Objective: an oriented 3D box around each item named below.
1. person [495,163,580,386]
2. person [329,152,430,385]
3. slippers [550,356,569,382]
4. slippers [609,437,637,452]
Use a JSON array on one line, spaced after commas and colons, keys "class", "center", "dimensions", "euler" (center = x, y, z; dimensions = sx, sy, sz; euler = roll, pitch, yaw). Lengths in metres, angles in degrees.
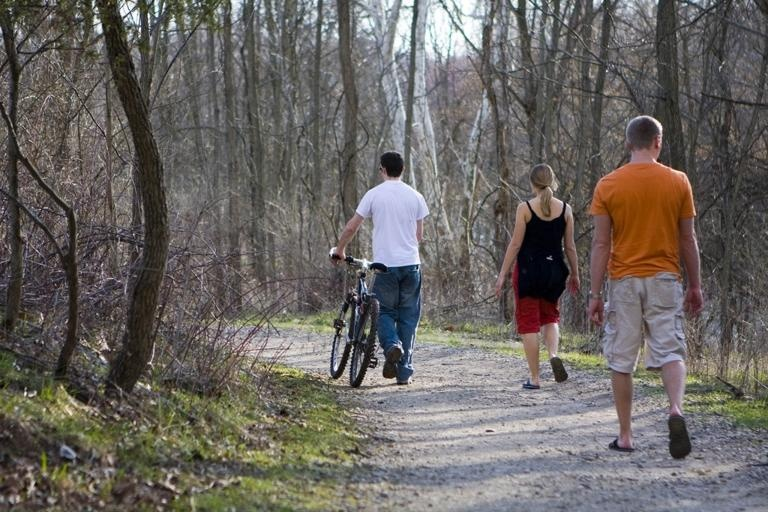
[{"class": "person", "center": [2.139, 0.326, 13.158], "dimensions": [1.023, 3.145, 1.300], "euler": [4, 10, 11]}, {"class": "person", "center": [0.032, 0.223, 13.134], "dimensions": [1.023, 3.212, 1.101], "euler": [2, 10, 1]}, {"class": "slippers", "center": [2.326, 1.525, 12.780], "dimensions": [0.191, 0.388, 0.148], "euler": [-15, 16, 10]}, {"class": "slippers", "center": [2.677, 2.116, 10.823], "dimensions": [0.125, 0.123, 0.264], "euler": [2, 5, -32]}]
